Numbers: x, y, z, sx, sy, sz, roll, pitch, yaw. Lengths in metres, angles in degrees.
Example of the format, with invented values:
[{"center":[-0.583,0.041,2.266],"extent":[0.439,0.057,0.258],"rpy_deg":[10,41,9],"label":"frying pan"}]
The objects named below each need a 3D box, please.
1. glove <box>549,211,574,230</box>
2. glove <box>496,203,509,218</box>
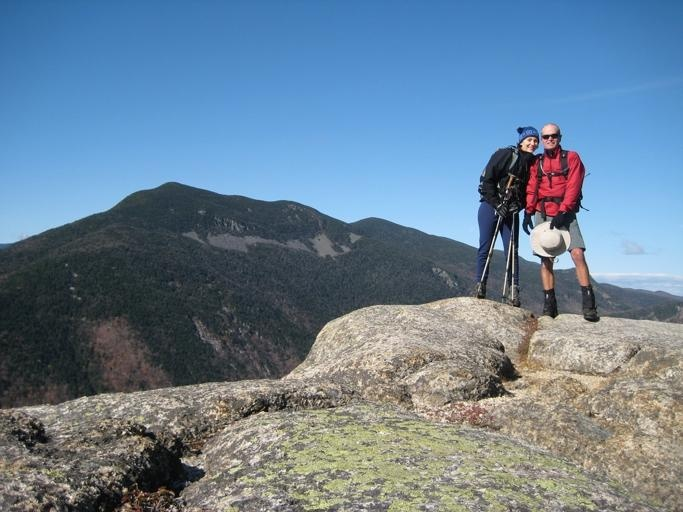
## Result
[{"center":[5.322,-0.827,16.692],"extent":[0.559,0.394,0.300],"rpy_deg":[-1,-2,16],"label":"glove"},{"center":[4.274,-1.173,18.345],"extent":[0.325,0.316,0.452],"rpy_deg":[-1,-2,14],"label":"glove"}]
